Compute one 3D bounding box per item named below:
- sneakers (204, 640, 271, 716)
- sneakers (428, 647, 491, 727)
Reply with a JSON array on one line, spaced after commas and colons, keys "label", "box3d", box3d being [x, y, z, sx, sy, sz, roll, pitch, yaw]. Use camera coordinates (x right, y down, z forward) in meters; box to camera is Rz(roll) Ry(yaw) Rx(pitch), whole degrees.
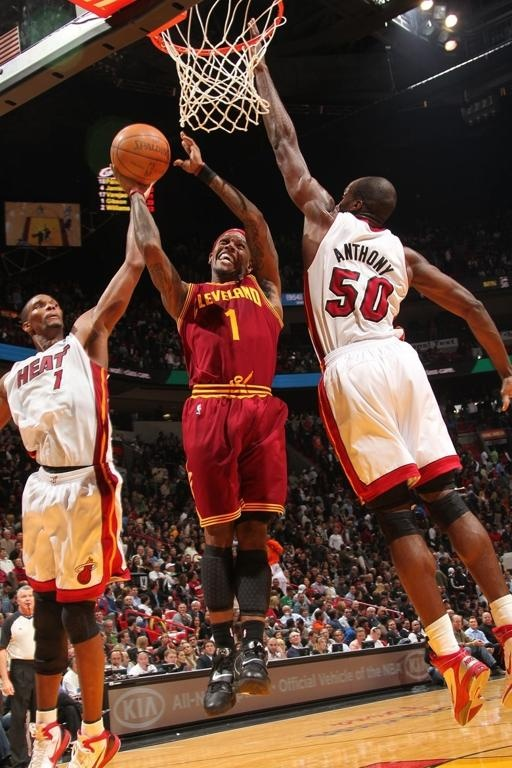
[{"label": "sneakers", "box3d": [-0.067, 0.966, 1.966, 0.178, 0.140, 0.293, -4, -28, -6]}, {"label": "sneakers", "box3d": [0.631, 0.976, 1.873, 0.163, 0.385, 0.210, -1, 15, 14]}]
